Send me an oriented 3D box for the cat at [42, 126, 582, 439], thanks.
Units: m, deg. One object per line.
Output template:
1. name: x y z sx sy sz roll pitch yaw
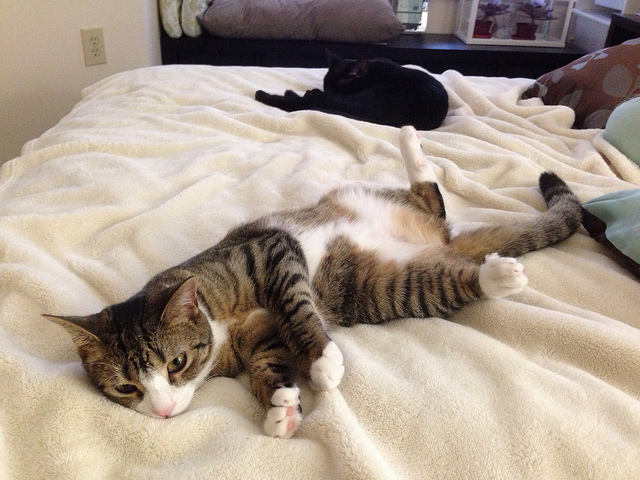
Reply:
1. cat: 0.062 0.128 1.327 1.200 0.371 0.557 -29 37 -21

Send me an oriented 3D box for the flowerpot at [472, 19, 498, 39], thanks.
1. flowerpot: 1.098 -1.422 3.581 0.125 0.098 0.130 -7 32 -14

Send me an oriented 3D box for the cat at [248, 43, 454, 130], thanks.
1. cat: 0.132 -0.550 2.292 0.723 0.288 0.458 12 18 -3

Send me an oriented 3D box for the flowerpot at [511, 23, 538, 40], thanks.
1. flowerpot: 1.348 -1.390 3.497 0.113 0.076 0.119 4 26 9
